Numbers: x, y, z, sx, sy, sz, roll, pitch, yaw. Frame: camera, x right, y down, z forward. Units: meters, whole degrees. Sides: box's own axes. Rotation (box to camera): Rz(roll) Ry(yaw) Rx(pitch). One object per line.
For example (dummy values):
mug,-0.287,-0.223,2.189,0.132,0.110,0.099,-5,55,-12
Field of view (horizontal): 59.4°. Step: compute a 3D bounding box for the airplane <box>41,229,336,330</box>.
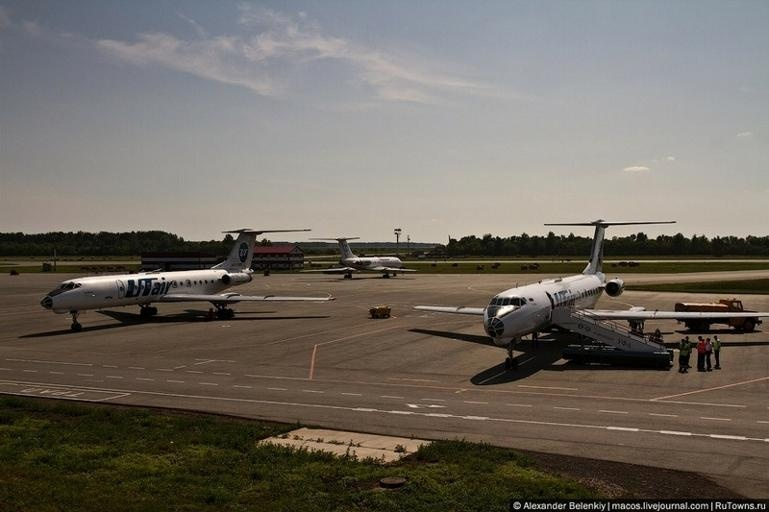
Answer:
airplane,-22.605,3.041,65.564,20.999,4.484,17.706,1,1,37
